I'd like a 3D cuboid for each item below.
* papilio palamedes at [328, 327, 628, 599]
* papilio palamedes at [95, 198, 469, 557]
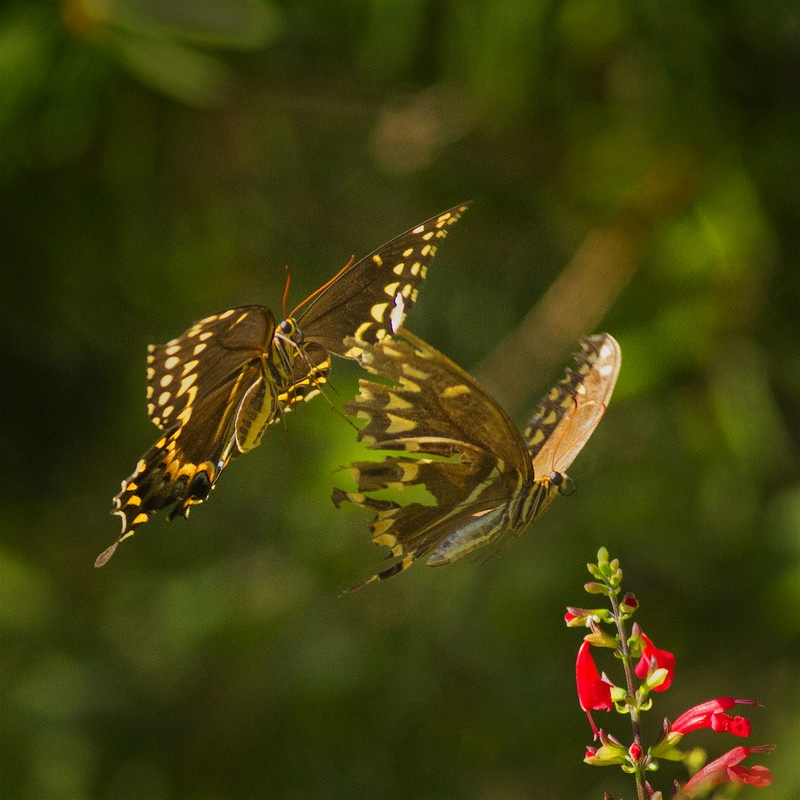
[{"bbox_3d":[0.152,0.092,2.220,0.512,0.464,0.394,-7,83,-2],"label":"papilio palamedes"},{"bbox_3d":[-0.229,-0.011,2.609,0.678,0.644,0.296,-34,80,2],"label":"papilio palamedes"}]
